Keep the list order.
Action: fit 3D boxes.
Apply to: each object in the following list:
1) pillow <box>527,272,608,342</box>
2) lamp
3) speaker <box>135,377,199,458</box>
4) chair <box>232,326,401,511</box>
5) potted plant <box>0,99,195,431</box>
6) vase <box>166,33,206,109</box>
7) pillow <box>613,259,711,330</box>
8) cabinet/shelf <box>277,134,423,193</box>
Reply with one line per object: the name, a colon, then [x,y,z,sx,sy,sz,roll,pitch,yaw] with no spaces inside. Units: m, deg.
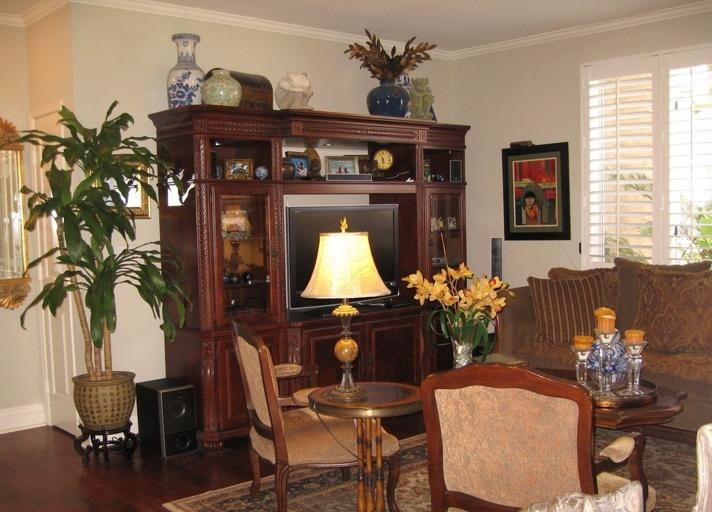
pillow: [1.854,0.467,5.225,0.611,0.572,0.176,-5,-9,9]
lamp: [-0.055,0.301,3.389,0.483,0.980,0.372,-2,6,-2]
speaker: [-1.553,1.254,4.796,0.590,0.721,0.394,3,5,40]
chair: [-0.228,1.082,4.151,1.137,1.448,1.121,-2,5,-19]
potted plant: [-2.003,0.061,4.619,1.384,2.577,1.235,-3,6,-10]
vase: [-1.367,-1.491,4.784,0.285,0.624,0.311,-5,7,-22]
pillow: [2.538,0.337,4.897,0.196,0.526,0.551,12,-5,-44]
cabinet/shelf: [-0.044,-0.886,5.662,1.187,0.411,0.546,-6,7,-34]
